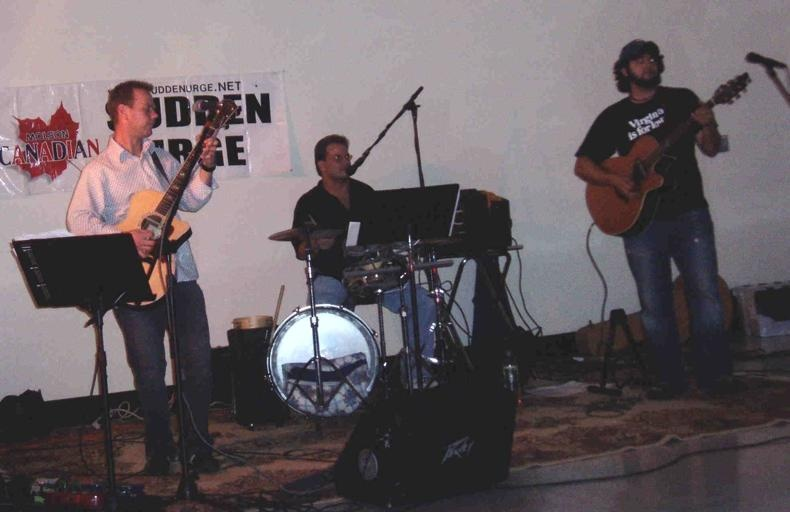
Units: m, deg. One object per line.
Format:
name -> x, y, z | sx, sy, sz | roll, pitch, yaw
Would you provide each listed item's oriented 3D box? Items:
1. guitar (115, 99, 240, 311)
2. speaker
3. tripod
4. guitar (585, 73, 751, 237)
guitar -> -1.531, -0.425, 5.476 | 0.631, 1.691, 0.200 | 27, -9, 3
speaker -> 0.156, 1.027, 4.945 | 0.990, 0.715, 0.747 | -1, 8, -32
tripod -> -0.627, 0.635, 6.077 | 0.717, 1.153, 0.400 | -6, -2, -2
guitar -> 2.218, -0.656, 6.451 | 1.905, 0.806, 0.270 | -45, -21, 20
